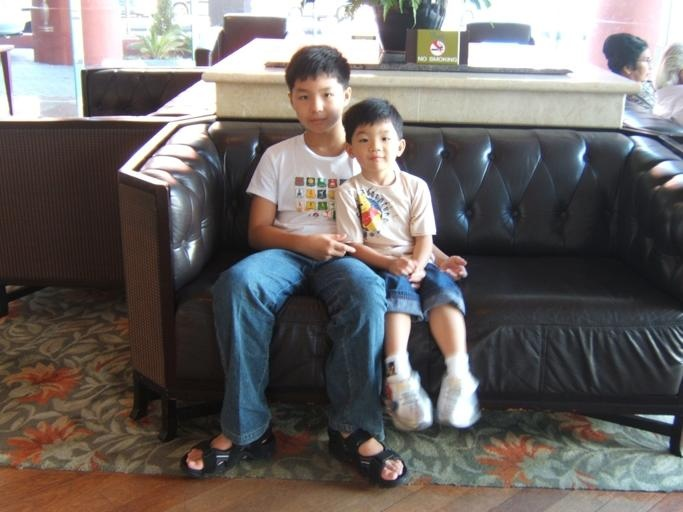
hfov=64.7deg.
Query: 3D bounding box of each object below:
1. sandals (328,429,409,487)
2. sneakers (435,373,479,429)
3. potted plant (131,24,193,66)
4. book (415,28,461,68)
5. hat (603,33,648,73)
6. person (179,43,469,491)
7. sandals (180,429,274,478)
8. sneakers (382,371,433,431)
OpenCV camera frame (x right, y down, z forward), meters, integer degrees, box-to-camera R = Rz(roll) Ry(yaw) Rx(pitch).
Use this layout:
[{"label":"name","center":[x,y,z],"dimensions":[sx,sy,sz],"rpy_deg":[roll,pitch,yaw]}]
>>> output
[{"label":"sandals","center":[0.064,0.578,1.708],"dimensions":[0.300,0.132,0.109],"rpy_deg":[16,31,38]},{"label":"sneakers","center":[0.374,0.444,1.685],"dimensions":[0.108,0.176,0.173],"rpy_deg":[4,4,39]},{"label":"potted plant","center":[-1.553,-1.815,4.680],"dimensions":[0.328,0.174,0.337],"rpy_deg":[18,42,3]},{"label":"book","center":[0.407,-0.886,2.313],"dimensions":[0.173,0.124,0.025],"rpy_deg":[1,-8,2]},{"label":"hat","center":[2.033,-1.470,3.977],"dimensions":[0.303,0.282,0.242],"rpy_deg":[-16,14,-28]},{"label":"person","center":[-0.119,-0.026,1.734],"dimensions":[0.666,1.244,0.694],"rpy_deg":[1,19,4]},{"label":"sandals","center":[-0.348,0.570,1.647],"dimensions":[0.248,0.082,0.130],"rpy_deg":[-4,11,-21]},{"label":"sneakers","center":[0.201,0.425,1.615],"dimensions":[0.086,0.141,0.139],"rpy_deg":[-36,49,-20]}]
